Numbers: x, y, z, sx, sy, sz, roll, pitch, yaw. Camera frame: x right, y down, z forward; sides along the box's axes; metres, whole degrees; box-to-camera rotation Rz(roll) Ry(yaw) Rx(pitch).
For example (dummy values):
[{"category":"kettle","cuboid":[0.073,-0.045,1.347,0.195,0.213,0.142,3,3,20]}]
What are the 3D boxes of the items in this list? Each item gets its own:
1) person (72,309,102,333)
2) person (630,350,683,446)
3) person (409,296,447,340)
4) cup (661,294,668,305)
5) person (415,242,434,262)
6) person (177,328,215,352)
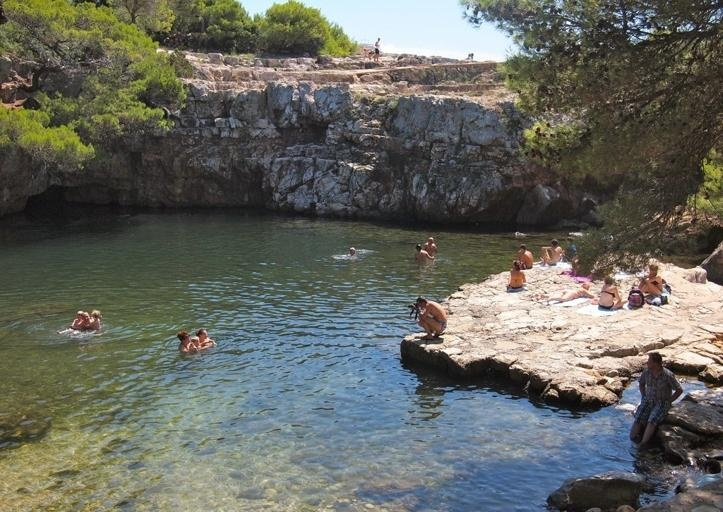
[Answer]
[{"category":"person","cuboid":[-11.546,2.715,27.735,0.928,0.517,1.153,-1,0,-30]},{"category":"person","cuboid":[9.178,4.398,20.727,1.462,2.789,0.966,-9,17,-30]},{"category":"person","cuboid":[2.668,2.454,26.486,1.764,1.479,1.130,4,3,9]},{"category":"cup","cuboid":[12.973,1.897,28.140,0.211,0.569,0.399,-5,12,0]},{"category":"person","cuboid":[3.795,-0.291,39.124,1.020,1.006,1.342,3,14,11]},{"category":"person","cuboid":[-6.435,3.334,25.893,1.234,0.447,0.881,-2,30,-16]}]
